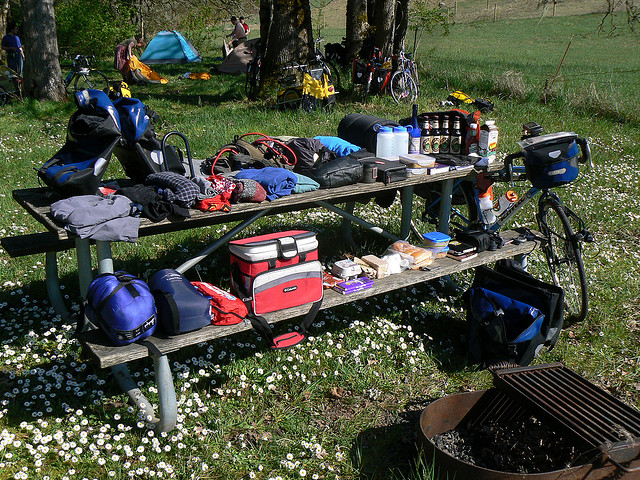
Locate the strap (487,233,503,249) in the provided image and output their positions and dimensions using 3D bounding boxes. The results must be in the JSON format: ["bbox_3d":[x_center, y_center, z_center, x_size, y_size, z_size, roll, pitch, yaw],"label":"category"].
[{"bbox_3d":[1.902,0.019,6.326,0.151,0.059,0.114,33,17,21],"label":"strap"}]

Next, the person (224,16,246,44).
[{"bbox_3d":[-3.179,-8.162,22.512,0.513,0.969,1.329,-2,23,-7],"label":"person"}]

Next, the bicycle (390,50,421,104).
[{"bbox_3d":[2.161,-4.072,14.487,0.739,0.981,1.580,-5,25,22],"label":"bicycle"}]

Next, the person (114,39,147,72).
[{"bbox_3d":[-6.456,-6.204,19.422,0.492,1.050,1.612,-11,26,-27],"label":"person"}]

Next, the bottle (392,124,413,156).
[{"bbox_3d":[0.908,-1.115,6.546,0.172,0.288,0.195,4,23,6],"label":"bottle"}]

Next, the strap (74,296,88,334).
[{"bbox_3d":[-2.063,0.679,5.014,0.084,0.366,0.259,4,0,-24],"label":"strap"}]

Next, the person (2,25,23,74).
[{"bbox_3d":[-8.734,-5.410,16.487,0.477,1.364,0.808,-10,25,-25],"label":"person"}]

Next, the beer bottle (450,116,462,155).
[{"bbox_3d":[1.593,-1.231,6.756,0.142,0.426,0.089,0,22,-1],"label":"beer bottle"}]

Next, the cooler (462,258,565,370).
[{"bbox_3d":[2.039,0.653,6.101,0.958,1.010,1.056,-13,27,-43],"label":"cooler"}]

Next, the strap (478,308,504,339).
[{"bbox_3d":[1.715,0.839,5.797,0.277,0.070,0.204,-54,31,-12],"label":"strap"}]

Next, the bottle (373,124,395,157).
[{"bbox_3d":[0.743,-1.102,6.516,0.201,0.295,0.214,1,23,0],"label":"bottle"}]

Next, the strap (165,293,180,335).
[{"bbox_3d":[-1.222,0.619,4.849,0.079,0.305,0.155,-9,25,-23],"label":"strap"}]

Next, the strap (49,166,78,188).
[{"bbox_3d":[-2.255,-0.532,5.128,0.144,0.080,0.207,12,44,39],"label":"strap"}]

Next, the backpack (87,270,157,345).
[{"bbox_3d":[-1.649,0.495,4.852,0.440,0.475,0.606,-10,37,-45],"label":"backpack"}]

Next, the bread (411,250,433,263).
[{"bbox_3d":[1.063,0.161,5.999,0.244,0.099,0.081,-13,27,-30],"label":"bread"}]
